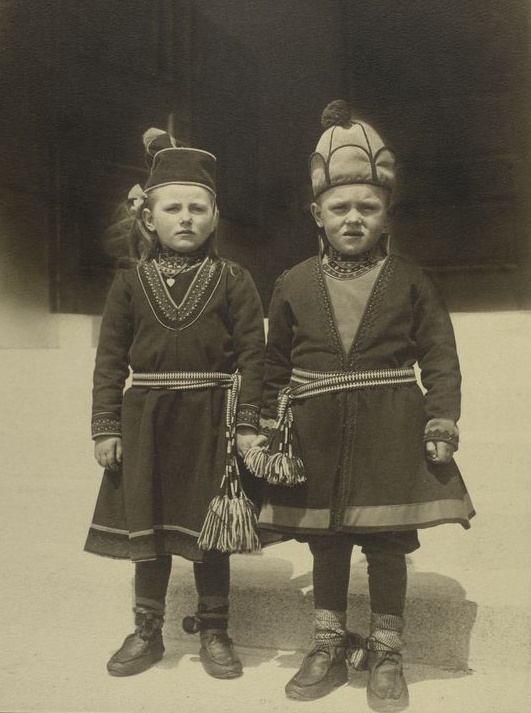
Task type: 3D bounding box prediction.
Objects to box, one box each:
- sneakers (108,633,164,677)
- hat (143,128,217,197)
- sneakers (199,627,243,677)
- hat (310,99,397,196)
[{"bbox_3d":[-0.390,0.906,3.606,0.098,0.073,0.188,8,5,43],"label":"sneakers"},{"bbox_3d":[-0.279,-0.603,3.695,0.222,0.177,0.186,14,-1,-31],"label":"hat"},{"bbox_3d":[-0.129,0.890,3.570,0.101,0.139,0.136,-1,12,-28],"label":"sneakers"},{"bbox_3d":[0.266,-0.569,3.640,0.282,0.267,0.349,-6,-17,6],"label":"hat"}]
